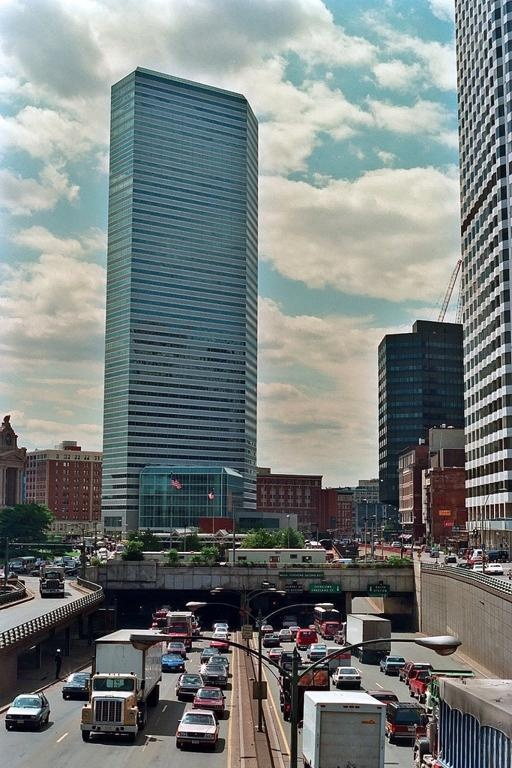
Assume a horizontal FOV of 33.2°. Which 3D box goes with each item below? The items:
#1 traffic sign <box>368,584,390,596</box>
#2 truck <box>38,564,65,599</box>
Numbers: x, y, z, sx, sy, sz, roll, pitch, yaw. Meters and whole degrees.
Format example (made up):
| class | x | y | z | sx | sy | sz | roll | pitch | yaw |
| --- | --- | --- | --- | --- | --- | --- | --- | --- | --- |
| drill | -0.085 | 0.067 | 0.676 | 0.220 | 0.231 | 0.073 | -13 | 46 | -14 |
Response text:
| class | x | y | z | sx | sy | sz | roll | pitch | yaw |
| --- | --- | --- | --- | --- | --- | --- | --- | --- | --- |
| traffic sign | 14.278 | 24.209 | 100.818 | 2.342 | 1.504 | 1.280 | -1 | -13 | 3 |
| truck | -19.091 | 18.554 | 80.356 | 2.065 | 2.700 | 3.109 | 3 | -9 | -17 |
